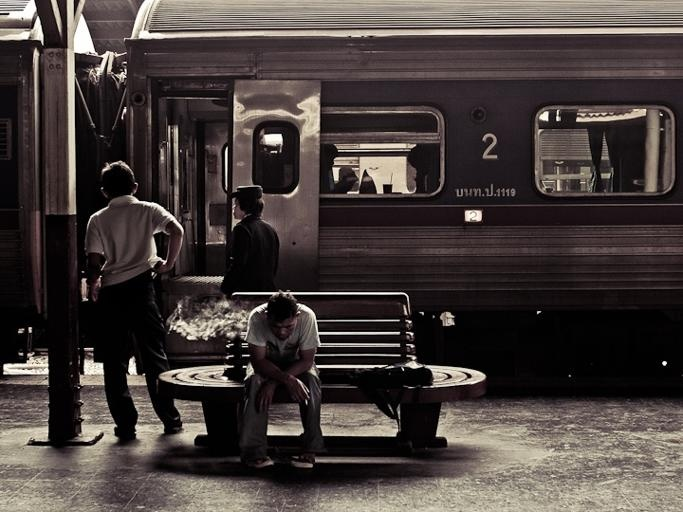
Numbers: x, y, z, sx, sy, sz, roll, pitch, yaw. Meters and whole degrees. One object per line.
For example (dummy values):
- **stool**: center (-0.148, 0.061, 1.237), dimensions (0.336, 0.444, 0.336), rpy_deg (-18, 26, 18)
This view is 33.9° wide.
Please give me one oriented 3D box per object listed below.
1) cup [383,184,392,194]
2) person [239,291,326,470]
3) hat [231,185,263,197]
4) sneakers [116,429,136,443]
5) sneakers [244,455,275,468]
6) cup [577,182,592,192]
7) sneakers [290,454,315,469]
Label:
- **cup**: center (0.446, -0.660, 11.010), dimensions (0.107, 0.102, 0.079), rpy_deg (1, 8, 1)
- **person**: center (-0.459, 0.973, 8.752), dimensions (0.642, 1.366, 0.482), rpy_deg (0, 10, -1)
- **hat**: center (-0.860, -0.574, 10.258), dimensions (0.196, 0.068, 0.143), rpy_deg (1, 4, 15)
- **sneakers**: center (-1.816, 1.519, 9.421), dimensions (0.119, 0.088, 0.122), rpy_deg (0, 1, -6)
- **sneakers**: center (-0.615, 1.592, 8.692), dimensions (0.242, 0.092, 0.089), rpy_deg (-8, 1, 26)
- **cup**: center (2.391, -0.666, 10.977), dimensions (0.176, 0.121, 0.092), rpy_deg (0, -2, 8)
- **sneakers**: center (-0.294, 1.593, 8.649), dimensions (0.083, 0.085, 0.222), rpy_deg (0, -11, 15)
